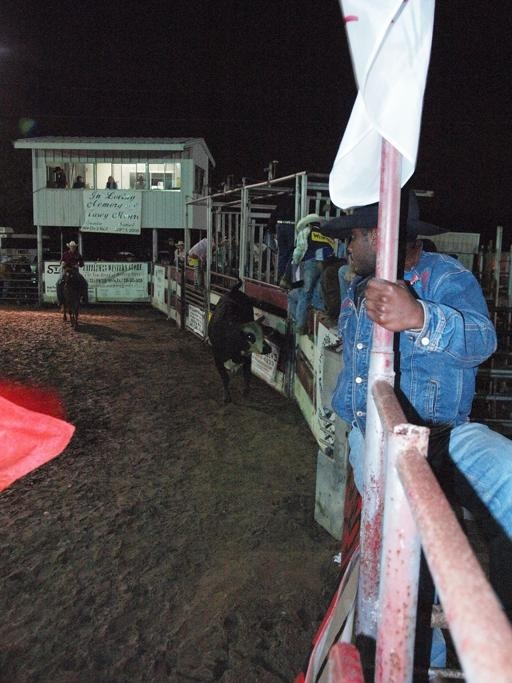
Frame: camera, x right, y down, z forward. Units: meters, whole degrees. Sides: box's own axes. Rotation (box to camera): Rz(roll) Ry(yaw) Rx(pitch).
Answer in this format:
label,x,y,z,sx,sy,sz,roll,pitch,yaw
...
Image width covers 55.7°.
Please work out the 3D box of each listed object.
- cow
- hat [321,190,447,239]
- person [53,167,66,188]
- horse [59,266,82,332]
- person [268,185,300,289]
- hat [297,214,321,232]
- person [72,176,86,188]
label,x,y,z,sx,sy,sz,roll,pitch,yaw
cow,-0.292,-0.043,6.690,0.722,1.541,0.936,1,9,-6
hat,0.493,-0.488,1.934,0.398,0.159,0.335,4,-2,-33
person,-8.250,-6.922,20.348,0.455,0.840,0.258,-2,10,-23
horse,-5.115,-1.215,13.509,0.564,1.523,2.358,0,-9,-19
person,0.416,-1.502,7.521,0.577,1.353,0.363,9,-11,-39
hat,0.577,-1.295,5.448,0.200,0.109,0.265,2,-8,-34
person,-7.511,-6.795,20.589,0.484,0.705,1.246,-2,10,-20
